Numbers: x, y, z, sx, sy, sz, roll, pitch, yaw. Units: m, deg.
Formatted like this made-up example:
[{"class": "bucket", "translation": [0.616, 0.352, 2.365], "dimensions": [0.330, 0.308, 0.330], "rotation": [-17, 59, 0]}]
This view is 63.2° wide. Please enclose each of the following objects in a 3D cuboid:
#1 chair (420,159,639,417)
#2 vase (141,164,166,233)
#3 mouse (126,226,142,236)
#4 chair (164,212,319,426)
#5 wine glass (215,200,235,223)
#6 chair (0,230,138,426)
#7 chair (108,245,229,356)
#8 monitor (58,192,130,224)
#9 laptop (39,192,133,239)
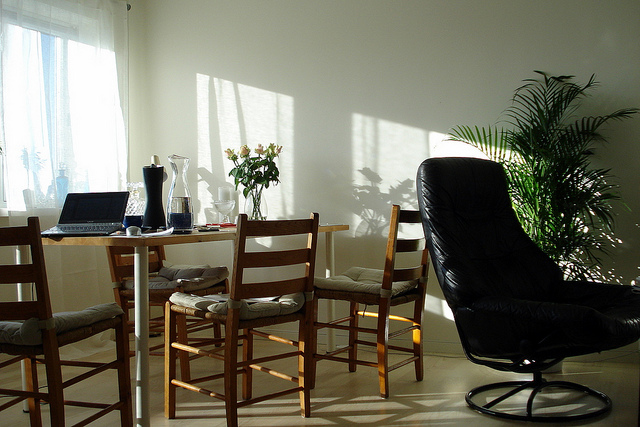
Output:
[{"class": "chair", "translation": [1.392, 0.462, 3.669], "dimensions": [1.525, 1.763, 1.490], "rotation": [-6, -4, 38]}, {"class": "vase", "translation": [-1.028, -0.097, 3.197], "dimensions": [0.149, 0.398, 0.265], "rotation": [-4, 10, -18]}, {"class": "mouse", "translation": [-1.012, 0.087, 2.810], "dimensions": [0.080, 0.051, 0.043], "rotation": [1, 14, -4]}, {"class": "chair", "translation": [-0.380, 0.508, 3.557], "dimensions": [0.926, 1.233, 1.837], "rotation": [1, 9, 10]}, {"class": "wine glass", "translation": [-0.664, -0.016, 3.660], "dimensions": [0.159, 0.157, 0.161], "rotation": [5, 6, 42]}, {"class": "chair", "translation": [-1.287, 0.615, 2.612], "dimensions": [0.592, 1.087, 0.309], "rotation": [-5, 10, -21]}, {"class": "chair", "translation": [-1.049, 0.537, 3.613], "dimensions": [0.670, 0.826, 0.584], "rotation": [-3, 1, 13]}, {"class": "monitor", "translation": [-1.330, -0.027, 2.951], "dimensions": [0.384, 0.174, 0.260], "rotation": [0, 0, 2]}, {"class": "laptop", "translation": [-1.343, 0.008, 2.959], "dimensions": [0.449, 0.189, 0.333], "rotation": [3, 14, 15]}]
